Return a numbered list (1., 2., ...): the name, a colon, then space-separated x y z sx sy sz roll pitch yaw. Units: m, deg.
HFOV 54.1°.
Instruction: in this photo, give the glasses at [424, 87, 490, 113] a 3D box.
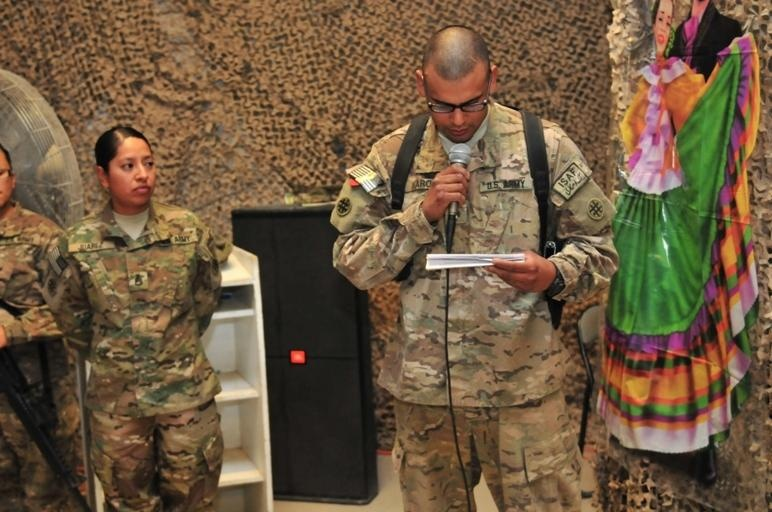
1. glasses: 0.247 -0.524 2.618 0.204 0.060 0.057 -1 26 3
